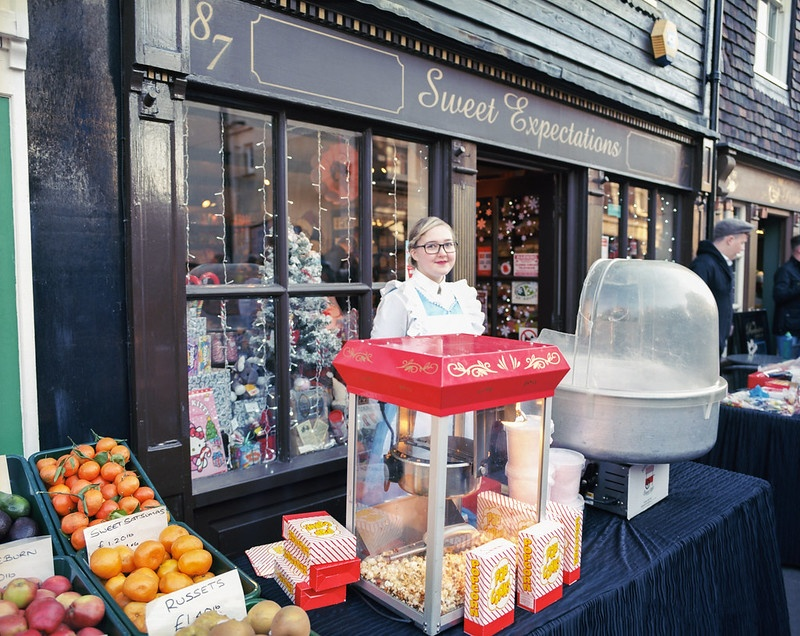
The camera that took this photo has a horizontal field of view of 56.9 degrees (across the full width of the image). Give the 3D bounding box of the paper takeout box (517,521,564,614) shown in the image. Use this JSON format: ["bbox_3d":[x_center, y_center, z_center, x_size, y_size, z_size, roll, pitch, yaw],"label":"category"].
[{"bbox_3d":[0.497,0.890,2.613,0.248,0.404,0.114,-1,4,-45],"label":"paper takeout box"}]

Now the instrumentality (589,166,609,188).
[{"bbox_3d":[1.554,-1.065,5.744,0.114,0.168,0.221,3,7,36],"label":"instrumentality"}]
